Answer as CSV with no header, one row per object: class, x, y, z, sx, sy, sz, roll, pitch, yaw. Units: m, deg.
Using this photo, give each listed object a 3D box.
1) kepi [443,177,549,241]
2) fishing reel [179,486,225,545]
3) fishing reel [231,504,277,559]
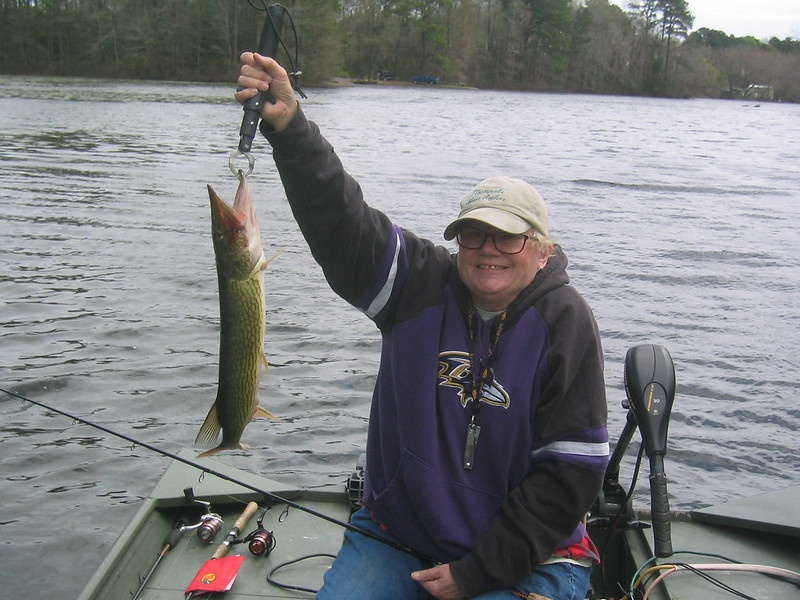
kepi,0.567,-0.525,4.762,0.366,0.252,0.512,3,-4,42
fishing reel,-1.274,1.407,5.493,0.253,0.355,0.233,-2,3,-10
fishing reel,-0.924,1.485,5.366,0.177,0.294,0.181,6,7,11
